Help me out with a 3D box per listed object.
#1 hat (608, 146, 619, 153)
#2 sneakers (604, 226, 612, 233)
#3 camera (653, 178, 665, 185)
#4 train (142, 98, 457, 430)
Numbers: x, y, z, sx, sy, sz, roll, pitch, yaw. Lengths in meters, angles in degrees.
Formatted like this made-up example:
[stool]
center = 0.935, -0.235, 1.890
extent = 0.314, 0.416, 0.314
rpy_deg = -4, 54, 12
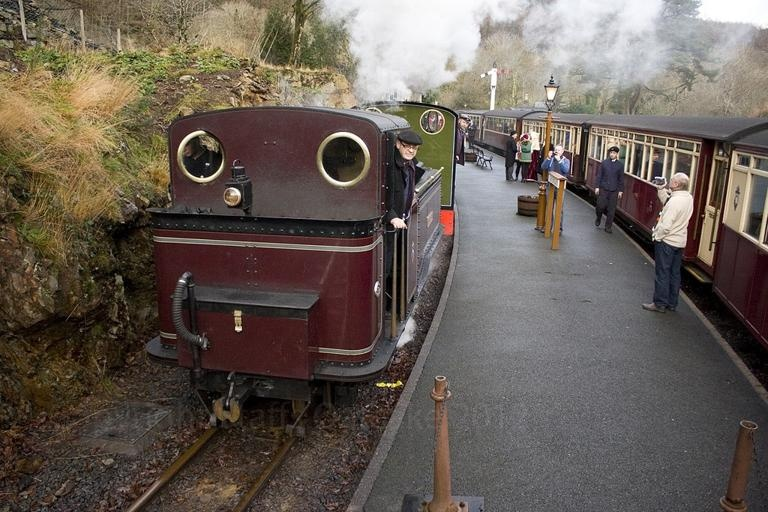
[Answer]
[hat]
center = 6.013, -2.779, 13.554
extent = 0.194, 0.099, 0.264
rpy_deg = 14, 20, 41
[sneakers]
center = 6.419, -0.729, 14.870
extent = 0.122, 0.116, 0.265
rpy_deg = -21, 8, 8
[camera]
center = 5.475, -1.469, 10.314
extent = 0.239, 0.139, 0.358
rpy_deg = 3, 16, 31
[train]
center = -0.998, -0.699, 7.981
extent = 2.753, 2.682, 4.843
rpy_deg = 2, 23, 7
